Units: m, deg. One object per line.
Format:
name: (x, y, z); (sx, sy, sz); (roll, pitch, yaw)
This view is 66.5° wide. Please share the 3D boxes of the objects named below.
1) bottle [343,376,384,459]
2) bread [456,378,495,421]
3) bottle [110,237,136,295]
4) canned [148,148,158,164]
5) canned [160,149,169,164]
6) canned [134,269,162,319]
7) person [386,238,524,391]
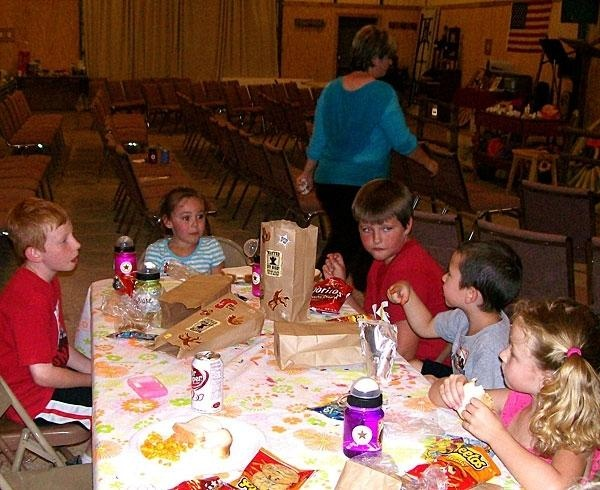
bottle: (0.136, 0.366, 0.969); (0.086, 0.185, 0.076); (3, 9, 7)
bread: (0.393, 0.346, 1.027); (0.021, 0.080, 0.078); (21, 50, -31)
bottle: (-0.755, 0.083, 1.952); (0.094, 0.229, 0.265); (-2, 9, -22)
canned: (-2.040, -1.219, 6.321); (0.128, 0.197, 0.215); (-1, 9, -19)
canned: (-1.889, -1.217, 6.354); (0.143, 0.183, 0.249); (-1, 9, -17)
canned: (-0.560, 0.174, 1.666); (0.096, 0.164, 0.132); (-2, 9, -22)
person: (0.501, 0.158, 1.780); (0.537, 0.749, 0.456); (-2, 35, 9)
